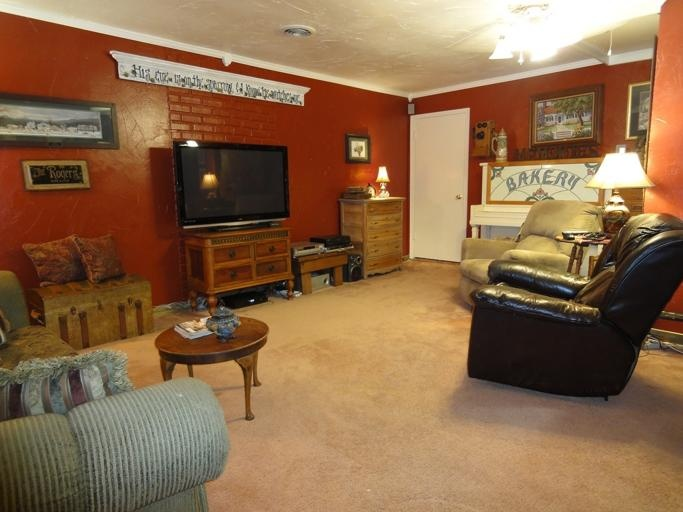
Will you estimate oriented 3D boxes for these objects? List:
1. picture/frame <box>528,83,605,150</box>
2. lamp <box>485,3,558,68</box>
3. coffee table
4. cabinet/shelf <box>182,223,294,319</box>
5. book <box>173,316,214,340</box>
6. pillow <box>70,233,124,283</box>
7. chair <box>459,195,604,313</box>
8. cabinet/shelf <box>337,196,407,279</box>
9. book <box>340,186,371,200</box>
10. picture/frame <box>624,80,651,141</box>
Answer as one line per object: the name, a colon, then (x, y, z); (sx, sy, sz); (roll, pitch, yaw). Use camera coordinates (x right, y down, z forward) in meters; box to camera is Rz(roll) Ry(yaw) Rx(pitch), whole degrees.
picture/frame: (2.728, -1.690, 5.819); (0.894, 0.763, 0.072); (4, 8, 44)
lamp: (1.585, -1.905, 4.174); (0.484, 0.471, 0.934); (2, 10, 21)
coffee table: (-0.799, 0.640, 3.009); (0.636, 0.468, 0.635); (-4, 6, -26)
cabinet/shelf: (-1.139, 0.018, 5.186); (0.770, 1.032, 1.390); (7, 13, 43)
book: (-0.938, 0.464, 3.081); (0.177, 0.041, 0.175); (-4, 10, -30)
pillow: (-2.053, 0.016, 4.115); (0.123, 0.381, 0.408); (-18, 10, 16)
chair: (1.831, -0.111, 4.981); (1.287, 1.436, 1.255); (2, 1, -12)
cabinet/shelf: (0.349, -0.246, 6.231); (0.585, 1.160, 0.968); (5, 9, 41)
book: (0.162, -0.818, 6.295); (0.412, 0.152, 0.296); (1, 10, 18)
picture/frame: (3.261, -1.613, 5.357); (0.191, 0.618, 0.140); (3, 11, 25)
